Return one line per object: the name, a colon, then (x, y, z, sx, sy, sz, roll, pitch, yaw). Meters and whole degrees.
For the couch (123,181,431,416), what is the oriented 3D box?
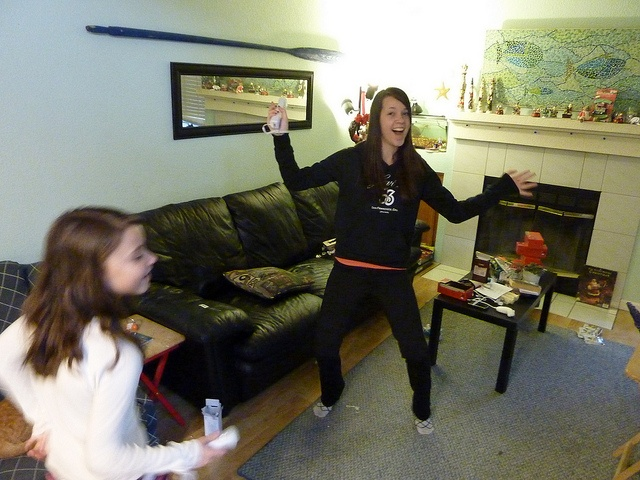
couch: (-0.263, 0.205, 3.963, 1.192, 1.100, 2.904, 23, 25, 29)

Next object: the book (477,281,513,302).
book: (1.305, 0.379, 3.388, 0.169, 0.027, 0.148, -26, 37, -38)

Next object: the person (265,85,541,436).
person: (0.410, 0.149, 2.764, 1.193, 2.072, 0.656, 6, 20, 19)

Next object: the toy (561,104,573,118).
toy: (2.418, -1.259, 4.372, 0.086, 0.127, 0.151, 8, 20, 26)

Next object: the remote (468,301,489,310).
remote: (1.130, 0.459, 3.204, 0.082, 0.022, 0.072, 23, 32, 36)

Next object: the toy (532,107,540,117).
toy: (2.166, -1.296, 4.523, 0.095, 0.081, 0.091, 1, 10, 13)

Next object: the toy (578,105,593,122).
toy: (2.507, -1.187, 4.249, 0.145, 0.142, 0.058, 10, 3, -9)

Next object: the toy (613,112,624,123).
toy: (2.768, -1.145, 4.198, 0.103, 0.106, 0.102, 13, 33, 33)

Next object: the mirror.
mirror: (-0.643, -1.264, 4.045, 0.036, 0.562, 1.601, 24, 28, 36)

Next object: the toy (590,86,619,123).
toy: (2.655, -1.267, 4.196, 0.186, 0.301, 0.171, 10, 21, 29)

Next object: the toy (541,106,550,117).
toy: (2.252, -1.274, 4.495, 0.084, 0.100, 0.046, -1, -18, 33)
